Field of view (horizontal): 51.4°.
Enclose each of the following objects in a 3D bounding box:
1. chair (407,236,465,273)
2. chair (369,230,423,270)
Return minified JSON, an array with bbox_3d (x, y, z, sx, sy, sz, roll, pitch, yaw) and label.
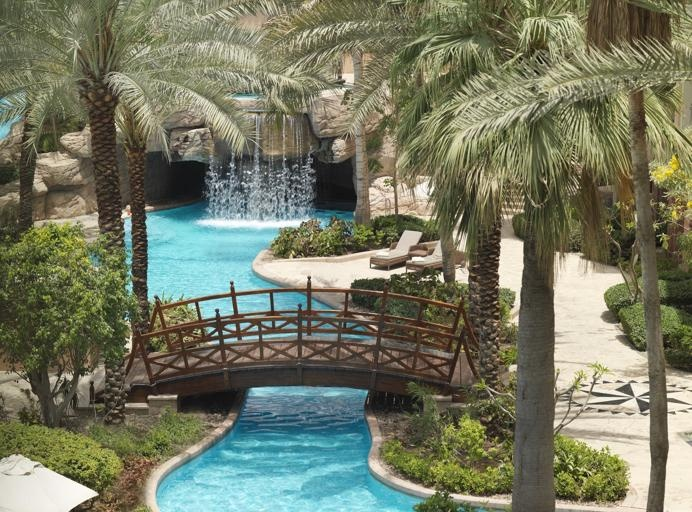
[{"bbox_3d":[3.374,-0.048,25.705,2.091,1.323,1.183,-3,4,-39],"label":"chair"},{"bbox_3d":[1.832,-0.223,27.122,1.076,1.187,2.043,8,14,43],"label":"chair"}]
